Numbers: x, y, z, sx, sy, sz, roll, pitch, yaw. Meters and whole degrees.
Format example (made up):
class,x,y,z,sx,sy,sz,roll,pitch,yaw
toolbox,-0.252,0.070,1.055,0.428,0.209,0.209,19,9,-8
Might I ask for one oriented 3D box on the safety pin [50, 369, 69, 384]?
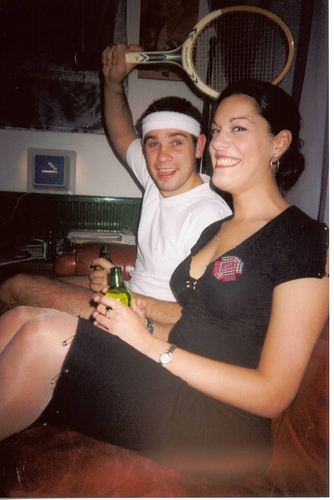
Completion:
class,x,y,z,sx,sy,sz,roll,pitch,yaw
safety pin,-0.213,0.245,0.748,0.027,0.088,0.018,2,57,-21

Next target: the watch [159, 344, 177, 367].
class,x,y,z,sx,sy,sz,roll,pitch,yaw
watch,0.009,0.241,0.870,0.030,0.042,0.046,29,73,16

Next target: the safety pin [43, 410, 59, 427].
class,x,y,z,sx,sy,sz,roll,pitch,yaw
safety pin,-0.237,0.345,0.774,0.024,0.101,0.005,-23,68,-33

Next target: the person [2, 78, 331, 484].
class,x,y,z,sx,sy,sz,roll,pitch,yaw
person,0.061,0.051,0.958,0.682,0.525,0.882,21,53,-9

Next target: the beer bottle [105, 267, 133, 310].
class,x,y,z,sx,sy,sz,roll,pitch,yaw
beer bottle,-0.141,0.111,1.096,0.076,0.199,0.085,2,24,-1

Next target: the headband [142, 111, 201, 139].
class,x,y,z,sx,sy,sz,roll,pitch,yaw
headband,0.016,-0.563,1.722,0.162,0.102,0.206,-8,17,-41

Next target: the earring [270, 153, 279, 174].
class,x,y,z,sx,sy,sz,roll,pitch,yaw
earring,0.295,-0.233,1.037,0.027,0.038,0.012,-2,14,-11

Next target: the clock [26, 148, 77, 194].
class,x,y,z,sx,sy,sz,roll,pitch,yaw
clock,-0.849,-0.580,2.704,0.346,0.085,0.336,2,89,-2

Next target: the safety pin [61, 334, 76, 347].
class,x,y,z,sx,sy,sz,roll,pitch,yaw
safety pin,-0.201,0.186,0.773,0.033,0.004,0.010,-36,86,-11
